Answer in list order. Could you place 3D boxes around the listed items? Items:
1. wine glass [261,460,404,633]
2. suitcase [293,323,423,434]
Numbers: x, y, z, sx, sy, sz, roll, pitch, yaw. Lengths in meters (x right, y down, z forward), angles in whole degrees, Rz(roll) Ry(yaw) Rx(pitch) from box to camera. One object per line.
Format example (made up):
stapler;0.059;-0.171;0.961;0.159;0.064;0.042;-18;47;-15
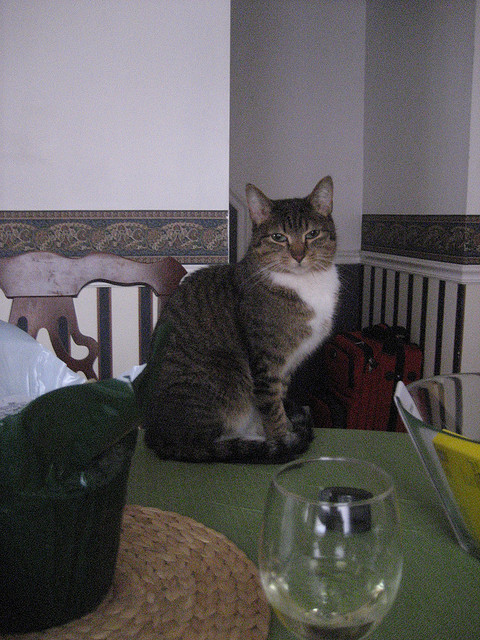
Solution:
wine glass;0.045;0.117;0.293;0.068;0.082;0.064;0;6;-8
suitcase;0.458;0.281;2.220;0.277;0.514;0.330;-9;17;-16
